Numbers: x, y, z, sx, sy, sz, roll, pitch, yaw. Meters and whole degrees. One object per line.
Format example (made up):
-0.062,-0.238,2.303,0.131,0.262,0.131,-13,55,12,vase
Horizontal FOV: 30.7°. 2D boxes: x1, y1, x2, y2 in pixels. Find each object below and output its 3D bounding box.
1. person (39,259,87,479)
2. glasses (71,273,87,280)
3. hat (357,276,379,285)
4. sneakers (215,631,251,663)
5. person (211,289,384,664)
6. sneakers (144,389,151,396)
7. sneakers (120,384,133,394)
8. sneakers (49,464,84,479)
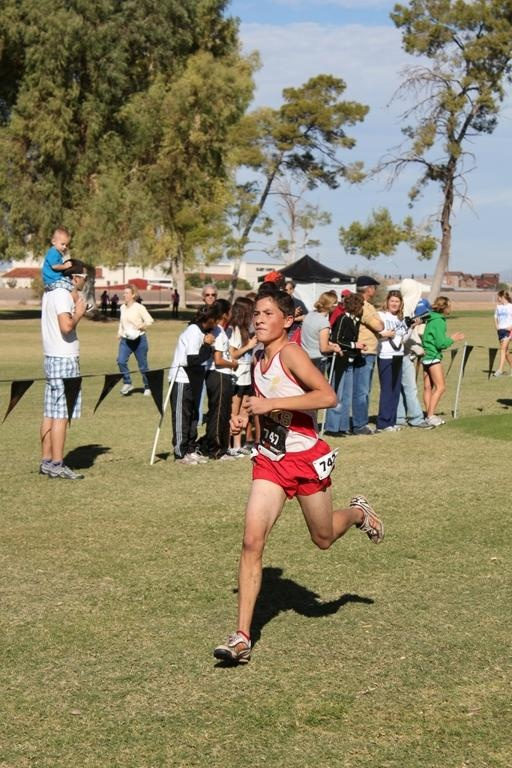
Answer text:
-1.630,-0.093,7.847,0.360,1.867,0.621,0,8,-13,person
-1.513,-0.899,7.919,0.088,0.037,0.060,-3,2,3,glasses
1.288,-1.176,10.865,0.206,0.090,0.132,-15,9,-23,hat
-0.102,1.223,4.384,0.097,0.129,0.230,38,1,24,sneakers
0.179,0.414,4.679,0.680,1.760,1.131,3,8,9,person
-1.711,0.136,14.677,0.102,0.139,0.084,-1,-29,4,sneakers
-2.067,0.094,14.772,0.112,0.124,0.291,0,5,13,sneakers
-1.664,0.753,8.123,0.351,0.141,0.113,1,10,-11,sneakers
